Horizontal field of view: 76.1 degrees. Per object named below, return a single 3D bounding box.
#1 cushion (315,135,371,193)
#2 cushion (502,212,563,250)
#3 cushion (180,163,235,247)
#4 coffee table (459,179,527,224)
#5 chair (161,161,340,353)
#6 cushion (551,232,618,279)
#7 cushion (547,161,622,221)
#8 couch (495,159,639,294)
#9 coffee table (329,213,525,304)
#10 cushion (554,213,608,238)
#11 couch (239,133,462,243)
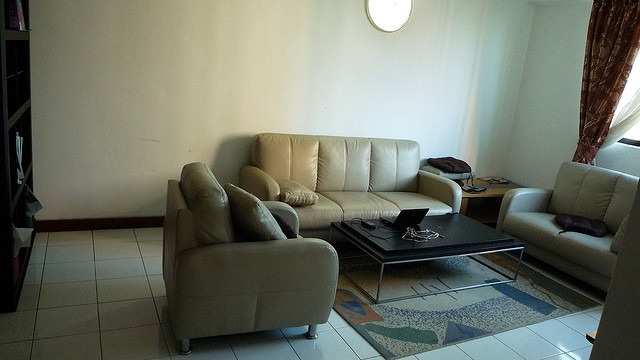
[{"bbox_3d":[0.287,-0.209,5.731,0.902,0.697,0.290,5,0,-17],"label":"cushion"},{"bbox_3d":[2.770,0.627,5.350,0.522,0.196,0.516,17,12,0],"label":"cushion"},{"bbox_3d":[-1.212,0.200,4.276,0.517,0.724,1.246,2,19,-24],"label":"cushion"},{"bbox_3d":[2.559,0.366,6.476,0.957,0.499,0.876,-5,16,-22],"label":"coffee table"},{"bbox_3d":[-0.668,0.667,4.357,1.826,1.441,1.768,-1,14,-18],"label":"chair"},{"bbox_3d":[3.257,0.874,4.999,0.341,0.326,0.678,-14,24,-39],"label":"cushion"},{"bbox_3d":[3.587,0.157,5.512,0.373,0.765,0.893,7,10,-43],"label":"cushion"},{"bbox_3d":[3.053,0.604,5.025,0.983,1.077,1.645,0,13,-25],"label":"couch"},{"bbox_3d":[1.271,0.873,4.952,2.036,0.668,0.869,-3,20,-17],"label":"coffee table"},{"bbox_3d":[3.338,0.576,5.199,0.522,0.120,0.305,2,15,30],"label":"cushion"},{"bbox_3d":[0.439,0.069,5.692,3.023,1.161,1.236,0,16,-27],"label":"couch"}]
